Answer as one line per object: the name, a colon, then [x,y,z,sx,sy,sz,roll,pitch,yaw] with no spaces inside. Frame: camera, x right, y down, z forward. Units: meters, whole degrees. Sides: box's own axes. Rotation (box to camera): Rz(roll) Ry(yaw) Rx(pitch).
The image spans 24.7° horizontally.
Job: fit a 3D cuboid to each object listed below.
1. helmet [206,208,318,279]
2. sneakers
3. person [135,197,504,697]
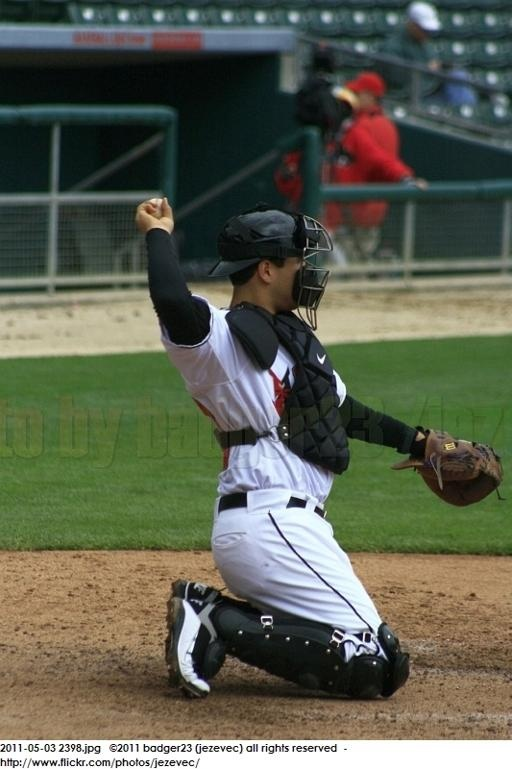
helmet: [0.025,-0.402,3.153,0.260,0.140,0.186,-12,15,-14]
sneakers: [-0.177,0.666,3.087,0.155,0.305,0.116,-2,-21,-8]
person: [0.174,0.176,3.201,0.993,1.353,0.548,-6,11,-37]
